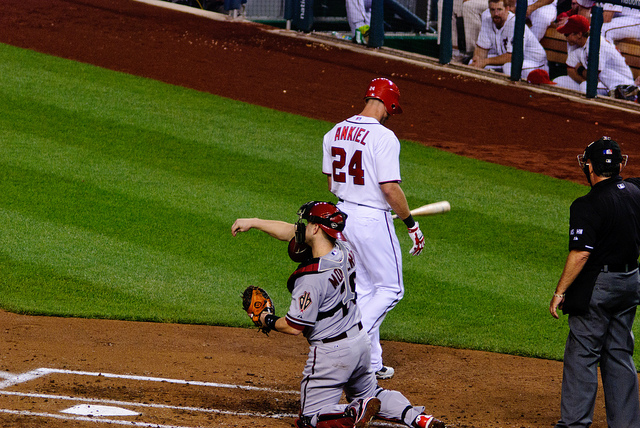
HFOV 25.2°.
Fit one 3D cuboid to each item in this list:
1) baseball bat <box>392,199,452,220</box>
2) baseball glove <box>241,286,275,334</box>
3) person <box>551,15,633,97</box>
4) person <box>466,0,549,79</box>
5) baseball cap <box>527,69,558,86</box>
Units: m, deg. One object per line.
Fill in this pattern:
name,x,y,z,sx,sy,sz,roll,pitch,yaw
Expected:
baseball bat,1.342,-0.035,18.918,0.826,0.156,0.148,-11,13,-23
baseball glove,-0.705,1.100,16.930,0.382,0.249,0.647,-3,29,1
person,4.680,-2.792,24.986,0.742,1.317,1.368,-1,17,-34
person,3.524,-3.180,25.775,1.024,1.328,1.449,4,15,-18
baseball cap,3.872,-2.418,25.355,0.412,0.193,0.256,2,14,8
